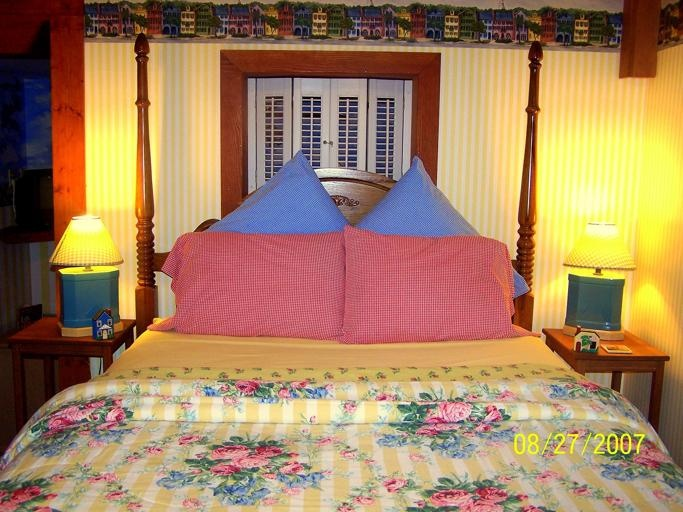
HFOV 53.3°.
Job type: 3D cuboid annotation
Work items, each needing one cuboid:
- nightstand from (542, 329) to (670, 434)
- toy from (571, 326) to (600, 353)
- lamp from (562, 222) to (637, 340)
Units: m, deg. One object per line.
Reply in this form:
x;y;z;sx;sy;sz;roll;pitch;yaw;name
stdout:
1.375;0.485;3.595;0.522;0.646;0.667;0;12;3;nightstand
1.198;0.405;3.357;0.140;0.125;0.099;2;8;14;toy
1.356;0.117;3.594;0.385;0.573;0.380;6;6;43;lamp
